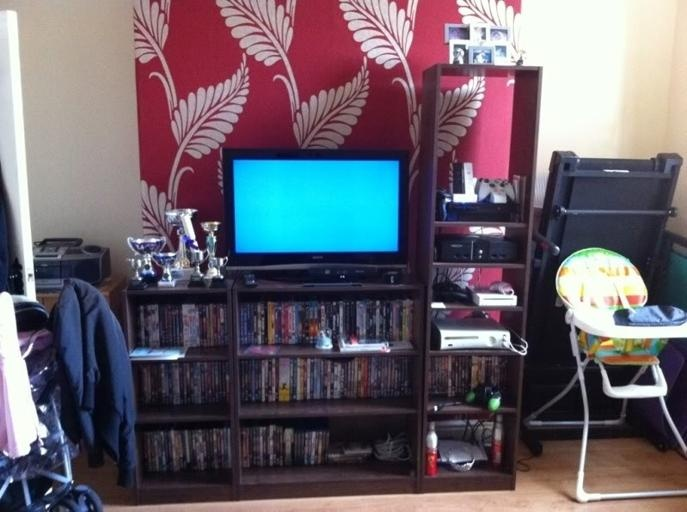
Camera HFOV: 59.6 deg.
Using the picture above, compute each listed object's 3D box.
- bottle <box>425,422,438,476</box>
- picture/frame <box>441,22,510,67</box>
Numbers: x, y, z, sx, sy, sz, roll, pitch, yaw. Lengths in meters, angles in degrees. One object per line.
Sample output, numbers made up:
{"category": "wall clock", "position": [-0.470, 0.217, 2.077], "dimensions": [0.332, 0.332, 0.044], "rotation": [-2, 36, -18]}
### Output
{"category": "bottle", "position": [0.539, 1.125, 3.601], "dimensions": [0.071, 0.324, 0.214], "rotation": [2, 14, 13]}
{"category": "picture/frame", "position": [0.821, -1.284, 3.624], "dimensions": [0.403, 0.231, 0.098], "rotation": [-3, 13, -6]}
